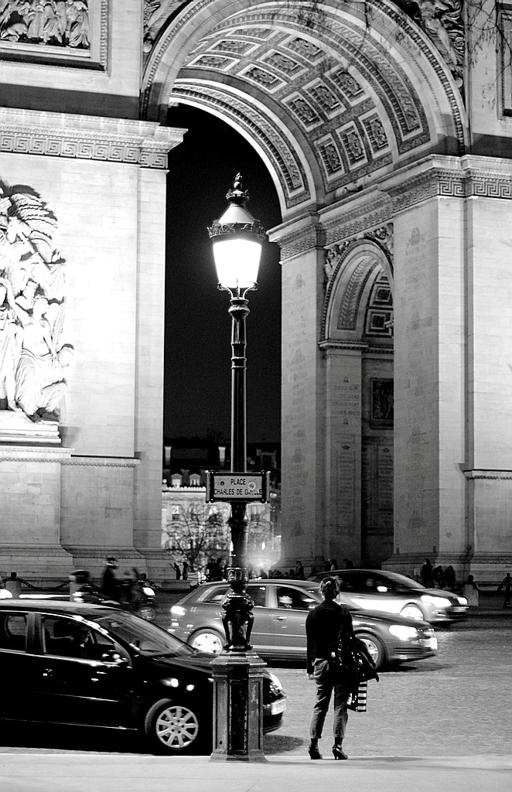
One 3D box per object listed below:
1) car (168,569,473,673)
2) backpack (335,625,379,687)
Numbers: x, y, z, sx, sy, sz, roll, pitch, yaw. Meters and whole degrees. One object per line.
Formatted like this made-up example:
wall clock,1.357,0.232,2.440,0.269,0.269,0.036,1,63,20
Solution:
car,0.858,3.355,22.572,4.342,1.473,1.694,-2,-4,13
backpack,0.897,2.403,14.442,0.398,0.478,0.246,1,-3,-8
